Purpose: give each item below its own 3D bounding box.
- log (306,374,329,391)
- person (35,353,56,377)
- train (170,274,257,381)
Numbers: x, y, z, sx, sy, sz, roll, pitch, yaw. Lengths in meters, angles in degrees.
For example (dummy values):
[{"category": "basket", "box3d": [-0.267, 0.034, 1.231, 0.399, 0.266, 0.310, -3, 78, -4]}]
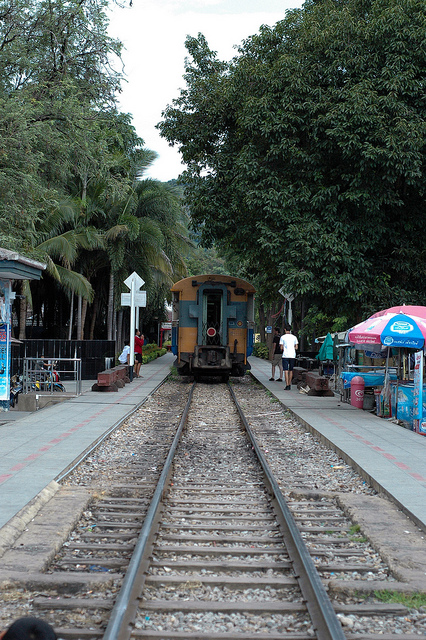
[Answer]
[{"category": "log", "box3d": [3.108, 1.886, 16.213, 0.536, 0.404, 1.103, 0, -1, 8]}, {"category": "person", "box3d": [-4.705, 1.275, 15.156, 0.557, 0.600, 0.895, 0, -7, -6]}, {"category": "train", "box3d": [-0.037, 0.185, 21.896, 3.005, 3.800, 5.935, 1, 2, 1]}]
